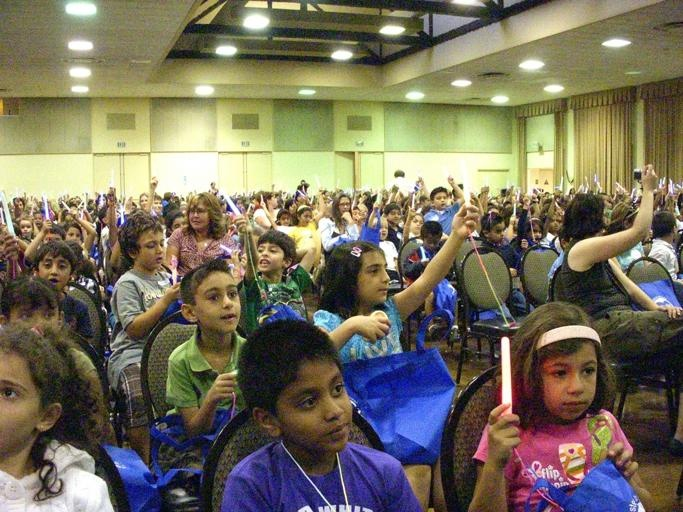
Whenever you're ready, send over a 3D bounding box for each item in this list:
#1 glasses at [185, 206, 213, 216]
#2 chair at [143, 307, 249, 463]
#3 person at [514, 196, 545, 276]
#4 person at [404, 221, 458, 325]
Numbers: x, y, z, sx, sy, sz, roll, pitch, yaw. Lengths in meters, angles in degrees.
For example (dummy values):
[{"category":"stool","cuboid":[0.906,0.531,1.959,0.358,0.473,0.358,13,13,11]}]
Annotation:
[{"category":"glasses","cuboid":[-1.073,-0.336,4.153,0.171,0.058,0.061,-2,2,17]},{"category":"chair","cuboid":[-0.546,0.462,2.295,0.379,0.692,0.442,2,-9,-27]},{"category":"person","cuboid":[2.207,-0.327,6.399,0.248,0.918,0.296,-18,32,-18]},{"category":"person","cuboid":[0.806,0.182,4.929,0.395,0.984,0.488,-1,0,-20]}]
